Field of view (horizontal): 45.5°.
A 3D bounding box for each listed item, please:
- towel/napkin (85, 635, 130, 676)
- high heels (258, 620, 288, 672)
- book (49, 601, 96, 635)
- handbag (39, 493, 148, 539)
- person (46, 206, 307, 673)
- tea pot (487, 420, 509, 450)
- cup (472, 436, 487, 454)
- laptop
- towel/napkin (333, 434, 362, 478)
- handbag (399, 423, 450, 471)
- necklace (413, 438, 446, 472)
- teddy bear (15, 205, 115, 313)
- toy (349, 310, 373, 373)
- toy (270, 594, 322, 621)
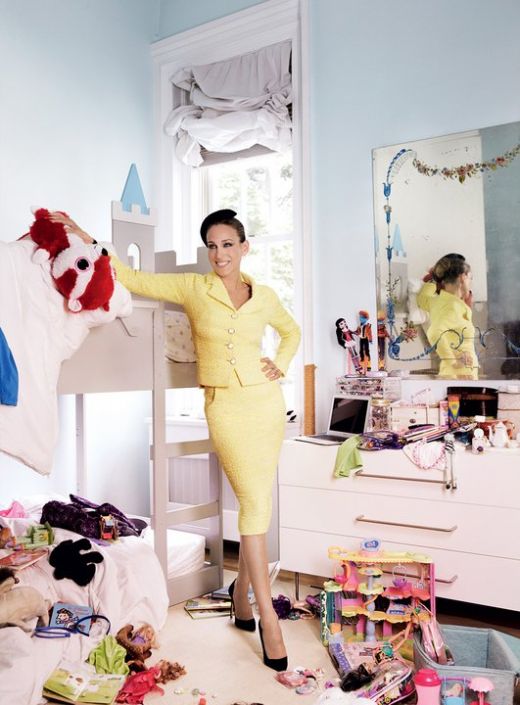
[{"bbox_3d":[-0.468,0.933,1.911,0.086,0.034,0.101,-11,32,-37],"label":"towel/napkin"},{"bbox_3d":[0.042,0.928,2.005,0.091,0.141,0.157,0,-3,2],"label":"high heels"},{"bbox_3d":[-0.591,0.841,1.952,0.143,0.090,0.097,1,-4,-21],"label":"book"},{"bbox_3d":[-0.663,0.652,2.451,0.324,0.114,0.201,13,-10,-26],"label":"handbag"},{"bbox_3d":[-0.150,0.261,2.213,0.532,1.493,0.406,-1,-4,10],"label":"person"},{"bbox_3d":[0.868,0.307,2.294,0.077,0.098,0.101,5,-6,-37],"label":"tea pot"},{"bbox_3d":[0.770,0.331,2.208,0.050,0.047,0.048,-1,1,0],"label":"cup"},{"bbox_3d":[0.307,0.265,2.586,0.222,0.145,0.220,-1,0,-38],"label":"laptop"},{"bbox_3d":[0.335,0.400,2.387,0.108,0.146,0.056,-6,-22,33],"label":"towel/napkin"},{"bbox_3d":[0.597,0.345,2.277,0.154,0.044,0.154,3,30,47],"label":"handbag"},{"bbox_3d":[0.578,0.368,2.180,0.105,0.096,0.037,0,-15,28],"label":"necklace"},{"bbox_3d":[-0.569,-0.274,1.856,0.270,0.315,0.232,1,-4,-19],"label":"teddy bear"},{"bbox_3d":[0.487,-0.054,2.972,0.087,0.288,0.063,-2,-4,28],"label":"toy"},{"bbox_3d":[0.153,0.997,2.433,0.160,0.051,0.119,0,-3,-10],"label":"toy"}]
